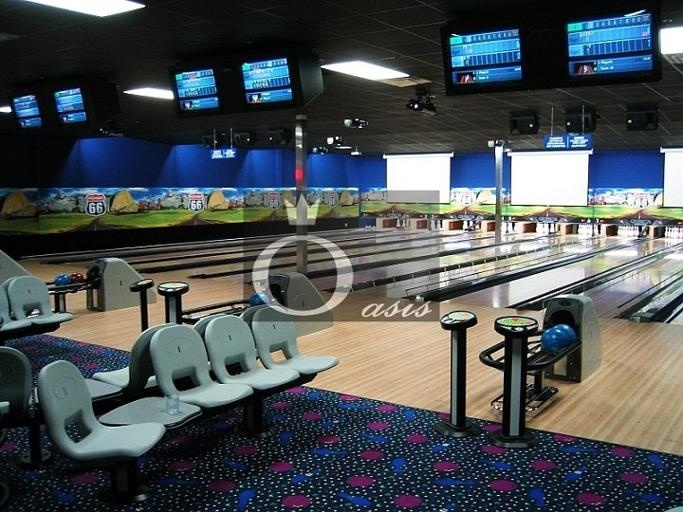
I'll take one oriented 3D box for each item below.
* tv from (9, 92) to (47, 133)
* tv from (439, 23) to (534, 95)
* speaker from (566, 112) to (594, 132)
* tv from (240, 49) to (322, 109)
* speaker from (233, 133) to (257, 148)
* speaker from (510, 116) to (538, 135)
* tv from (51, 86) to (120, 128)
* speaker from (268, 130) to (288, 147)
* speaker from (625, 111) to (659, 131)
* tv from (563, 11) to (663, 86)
[{"bbox_3d":[-3.890,-1.771,5.307,0.638,0.418,0.136,1,7,26],"label":"tv"},{"bbox_3d":[1.046,-1.418,3.089,0.834,0.456,0.239,1,16,21],"label":"tv"},{"bbox_3d":[3.889,-2.194,7.043,0.449,0.229,0.219,3,29,34],"label":"speaker"},{"bbox_3d":[-0.572,-1.551,3.788,0.821,0.408,0.375,-1,21,24],"label":"tv"},{"bbox_3d":[-2.072,-2.476,9.203,0.414,0.289,1.211,-2,6,-14],"label":"speaker"},{"bbox_3d":[3.134,-2.237,7.473,0.618,0.312,0.398,4,28,22],"label":"speaker"},{"bbox_3d":[-3.072,-1.751,5.250,0.845,0.395,0.671,-1,6,12],"label":"tv"},{"bbox_3d":[-1.038,-1.917,7.024,0.326,0.240,0.314,-1,7,-5],"label":"speaker"},{"bbox_3d":[4.677,-2.078,6.663,0.511,0.256,0.267,-2,7,-15],"label":"speaker"},{"bbox_3d":[1.726,-1.331,2.747,0.732,0.423,0.095,4,26,39],"label":"tv"}]
